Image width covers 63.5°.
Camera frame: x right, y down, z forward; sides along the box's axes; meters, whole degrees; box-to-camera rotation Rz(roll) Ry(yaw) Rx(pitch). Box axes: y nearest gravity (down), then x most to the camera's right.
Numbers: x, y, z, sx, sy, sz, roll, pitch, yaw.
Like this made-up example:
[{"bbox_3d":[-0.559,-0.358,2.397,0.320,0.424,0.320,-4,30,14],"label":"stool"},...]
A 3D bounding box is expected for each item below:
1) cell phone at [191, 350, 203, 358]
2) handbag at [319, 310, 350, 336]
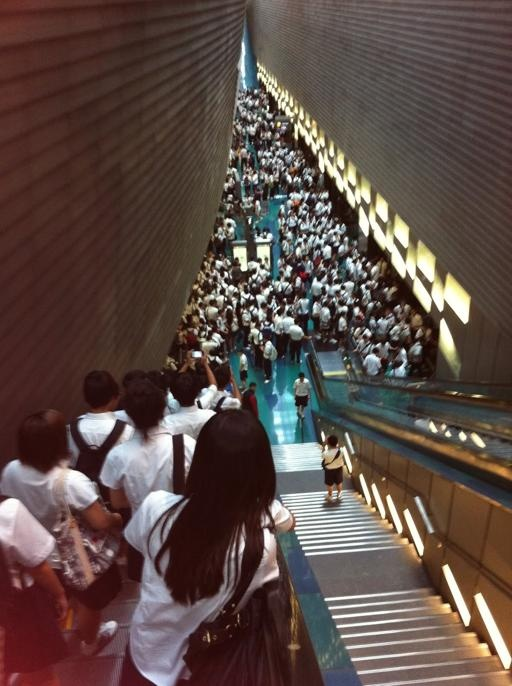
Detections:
[{"bbox_3d":[-0.548,0.148,3.945,0.164,0.078,0.093,6,6,32],"label":"cell phone"},{"bbox_3d":[1.877,-0.446,9.939,0.508,0.575,0.668,-6,-35,-2],"label":"handbag"}]
